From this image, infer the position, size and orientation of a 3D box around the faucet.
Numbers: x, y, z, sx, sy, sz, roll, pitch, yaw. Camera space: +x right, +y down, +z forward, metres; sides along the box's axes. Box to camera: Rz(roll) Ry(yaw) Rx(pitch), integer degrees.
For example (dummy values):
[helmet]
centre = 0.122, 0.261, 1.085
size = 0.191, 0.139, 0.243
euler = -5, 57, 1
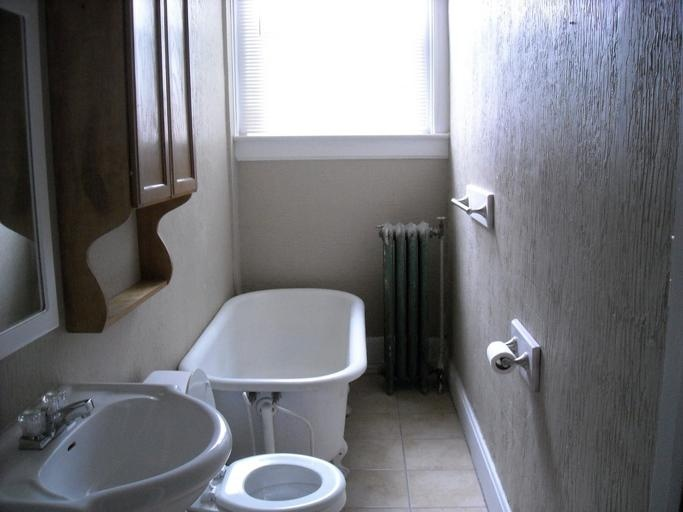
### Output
[faucet]
centre = -0.808, 0.440, 1.613
size = 0.104, 0.100, 0.246
euler = 5, 17, 23

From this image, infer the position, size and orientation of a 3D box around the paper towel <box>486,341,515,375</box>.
[paper towel]
centre = 0.567, 0.341, 1.966
size = 0.083, 0.091, 0.106
euler = -12, 25, 38

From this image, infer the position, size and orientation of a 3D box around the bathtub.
[bathtub]
centre = -0.282, 0.568, 2.955
size = 0.987, 0.754, 1.502
euler = -1, 10, 1
